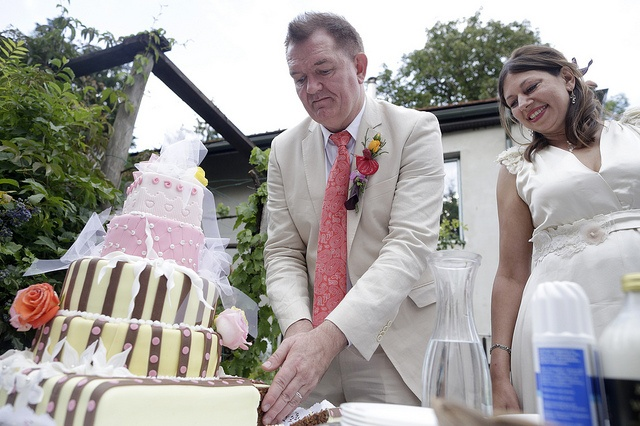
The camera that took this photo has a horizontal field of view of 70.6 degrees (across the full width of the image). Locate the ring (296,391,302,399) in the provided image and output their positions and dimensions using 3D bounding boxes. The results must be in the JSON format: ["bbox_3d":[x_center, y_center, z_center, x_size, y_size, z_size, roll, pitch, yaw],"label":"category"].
[{"bbox_3d":[-0.104,0.913,2.284,0.045,0.034,0.011,9,-17,-40],"label":"ring"}]
